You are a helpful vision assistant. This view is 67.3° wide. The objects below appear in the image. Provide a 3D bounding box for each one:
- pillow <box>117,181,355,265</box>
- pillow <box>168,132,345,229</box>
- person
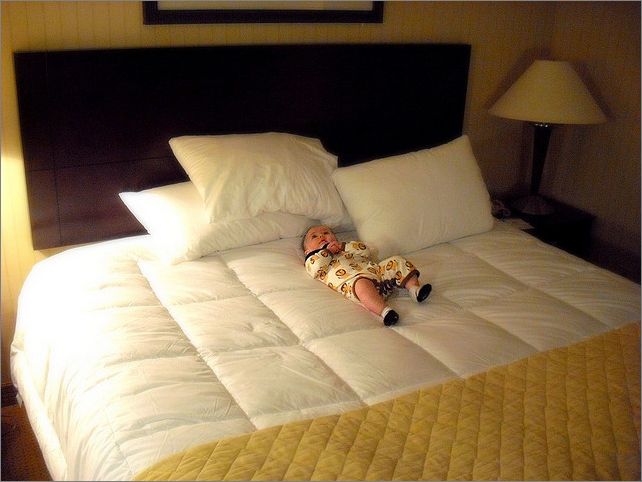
[{"bbox_3d":[-0.616,-0.148,2.574,0.736,0.439,0.172,-22,42,-2],"label":"pillow"},{"bbox_3d":[-0.399,-0.408,2.640,1.054,0.280,0.810,-4,36,-40],"label":"pillow"},{"bbox_3d":[0.163,0.138,2.270,0.707,0.229,0.372,26,39,35],"label":"person"}]
